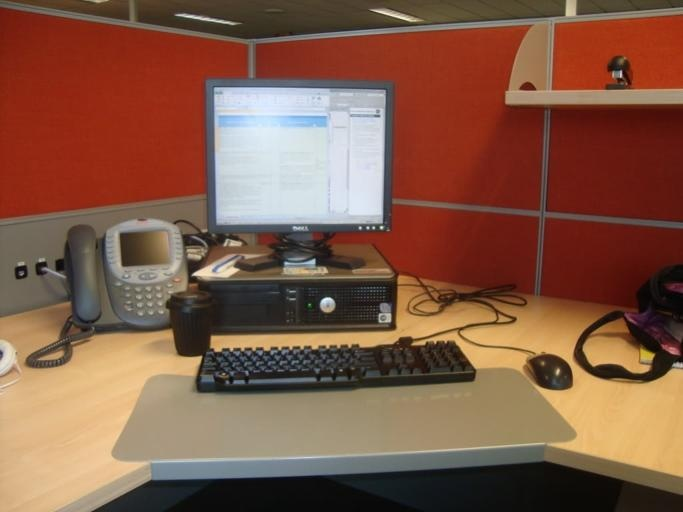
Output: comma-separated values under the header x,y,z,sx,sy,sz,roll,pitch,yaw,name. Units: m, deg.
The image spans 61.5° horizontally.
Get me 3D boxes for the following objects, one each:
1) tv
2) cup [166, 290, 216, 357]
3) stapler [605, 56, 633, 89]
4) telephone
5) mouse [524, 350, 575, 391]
x,y,z,sx,sy,sz,roll,pitch,yaw,name
-0.105,-0.214,1.507,0.491,0.486,0.145,0,7,4,tv
-0.344,0.172,1.337,0.093,0.112,0.094,-6,-11,-1,cup
0.689,-0.456,1.423,0.046,0.061,0.155,2,16,26,stapler
-0.549,0.024,1.456,0.317,0.132,0.353,7,43,-11,telephone
0.455,0.245,1.261,0.087,0.055,0.146,-1,7,0,mouse
